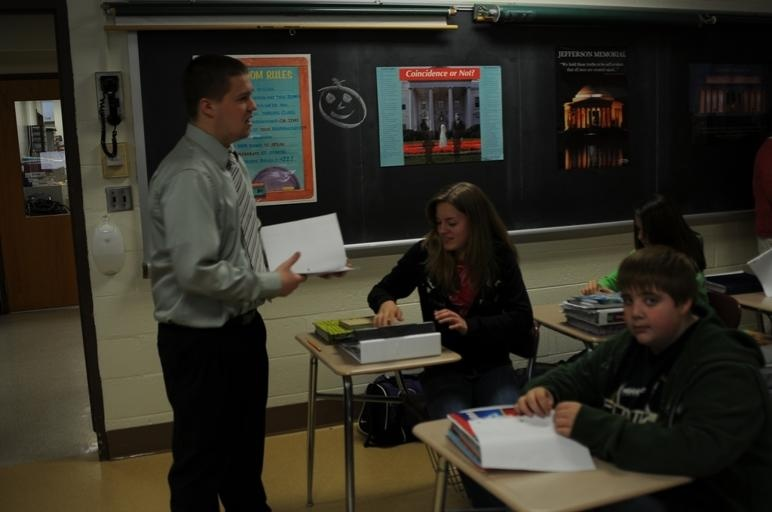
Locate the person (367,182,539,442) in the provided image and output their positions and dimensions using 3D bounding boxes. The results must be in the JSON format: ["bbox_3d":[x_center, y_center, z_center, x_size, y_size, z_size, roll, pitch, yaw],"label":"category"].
[{"bbox_3d":[0.362,0.399,3.057,0.831,1.436,0.876,3,8,34],"label":"person"}]

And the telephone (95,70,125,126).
[{"bbox_3d":[-1.649,-0.948,3.401,0.170,0.306,0.124,-5,14,-20],"label":"telephone"}]

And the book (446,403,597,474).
[{"bbox_3d":[0.426,0.589,1.854,0.438,0.098,0.282,-2,12,-4],"label":"book"}]

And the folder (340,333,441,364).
[{"bbox_3d":[0.066,0.413,2.537,0.222,0.074,0.196,-2,4,-17],"label":"folder"}]

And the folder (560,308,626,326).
[{"bbox_3d":[1.133,0.326,3.067,0.211,0.045,0.192,-2,5,-26],"label":"folder"}]

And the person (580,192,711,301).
[{"bbox_3d":[1.543,-0.022,3.321,0.726,0.602,0.466,-12,16,-16],"label":"person"}]

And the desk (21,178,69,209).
[{"bbox_3d":[-4.058,-0.739,6.692,0.541,0.354,0.281,-2,2,-20],"label":"desk"}]
